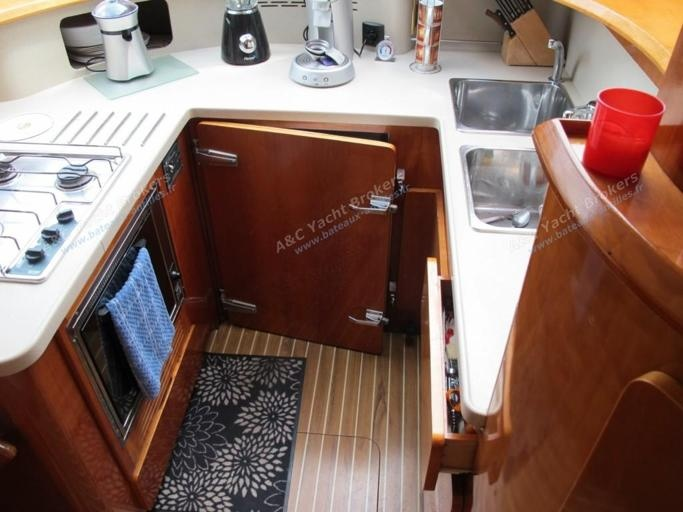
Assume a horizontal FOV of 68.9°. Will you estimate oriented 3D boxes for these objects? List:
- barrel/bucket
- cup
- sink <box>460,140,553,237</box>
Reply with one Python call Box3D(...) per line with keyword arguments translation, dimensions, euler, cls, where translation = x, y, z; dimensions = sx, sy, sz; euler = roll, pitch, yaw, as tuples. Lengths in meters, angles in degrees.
Box3D(translation=(0.396, -0.172, 0.704), dimensions=(0.078, 0.101, 0.090), euler=(6, 32, 14), cls="barrel/bucket")
Box3D(translation=(0.396, -0.172, 0.703), dimensions=(0.080, 0.099, 0.086), euler=(0, 34, 0), cls="cup")
Box3D(translation=(0.560, -0.249, 1.628), dimensions=(0.295, 0.355, 0.088), euler=(-1, 5, -2), cls="sink")
